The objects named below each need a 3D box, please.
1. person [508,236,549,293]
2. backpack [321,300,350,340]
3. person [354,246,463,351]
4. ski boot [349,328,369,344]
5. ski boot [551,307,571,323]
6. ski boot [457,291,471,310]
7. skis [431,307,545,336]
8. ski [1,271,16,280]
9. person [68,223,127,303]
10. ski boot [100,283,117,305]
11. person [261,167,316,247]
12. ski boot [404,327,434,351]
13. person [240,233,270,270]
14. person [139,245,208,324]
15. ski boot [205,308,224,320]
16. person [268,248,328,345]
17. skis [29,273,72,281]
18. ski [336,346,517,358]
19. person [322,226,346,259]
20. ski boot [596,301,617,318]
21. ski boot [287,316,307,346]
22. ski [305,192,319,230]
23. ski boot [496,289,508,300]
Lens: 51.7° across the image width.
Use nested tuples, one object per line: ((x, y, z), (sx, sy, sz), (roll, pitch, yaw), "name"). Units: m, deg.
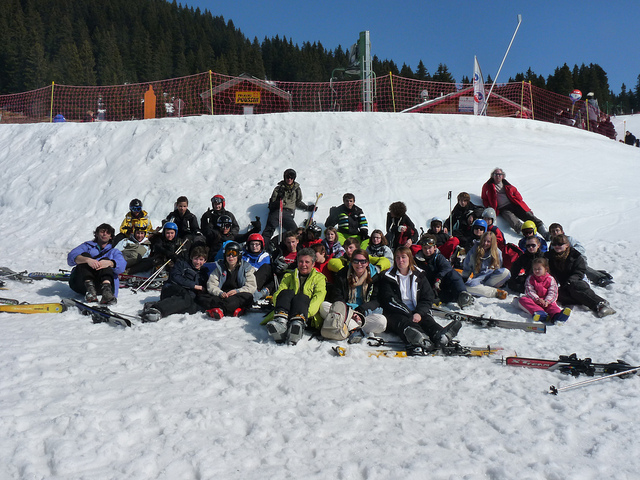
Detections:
((4.538, 0.466, 14.328), (0.878, 1.124, 0.712), (-2, -11, 21), "person")
((0.329, 1.526, 12.489), (0.565, 0.761, 0.407), (1, -23, 33), "backpack")
((1.787, 1.040, 12.870), (1.094, 1.487, 2.478), (-4, 15, -14), "person")
((0.706, 1.781, 12.560), (0.449, 0.263, 0.246), (-11, 20, -41), "ski boot")
((4.853, 1.512, 13.321), (0.157, 0.470, 0.198), (36, 3, 2), "ski boot")
((2.978, 1.250, 13.658), (0.237, 0.361, 0.124), (-1, -8, 13), "ski boot")
((3.338, 1.637, 13.098), (2.025, 0.256, 0.238), (9, 2, 17), "skis")
((-7.161, 0.823, 15.197), (0.338, 0.095, 0.068), (28, 14, 25), "ski")
((-4.655, 0.508, 13.985), (1.327, 1.426, 0.953), (16, 20, 41), "person")
((-4.362, 1.126, 13.579), (0.200, 0.380, 0.538), (4, -23, -21), "ski boot")
((-0.870, -0.633, 17.339), (1.189, 2.759, 0.934), (10, -22, -10), "person")
((1.841, 1.820, 12.307), (0.658, 0.257, 0.302), (38, 17, -2), "ski boot")
((-1.399, 0.306, 14.290), (0.771, 0.889, 0.491), (3, -2, -3), "person")
((-2.790, 0.991, 13.489), (0.874, 1.821, 1.076), (13, -23, 15), "person")
((-2.092, 1.458, 13.121), (0.333, 0.165, 0.167), (8, 18, 24), "ski boot")
((-0.418, 1.060, 12.587), (0.940, 1.506, 1.304), (5, 15, 8), "person")
((-6.140, 0.852, 15.068), (0.872, 0.211, 0.097), (3, -16, 3), "skis")
((1.781, 2.068, 12.184), (2.967, 0.184, 0.196), (2, 15, -3), "ski")
((0.332, 0.084, 15.083), (0.512, 1.048, 0.333), (-8, 10, 2), "person")
((5.797, 1.405, 13.388), (0.405, 0.278, 0.195), (-2, 16, -16), "ski boot")
((-0.437, 1.688, 12.166), (0.221, 0.243, 0.558), (4, 23, 0), "ski boot")
((-0.222, -0.714, 17.529), (0.111, 1.074, 0.113), (21, -14, 17), "ski")
((3.920, 1.168, 14.184), (0.293, 0.166, 0.205), (0, 16, -10), "ski boot")
